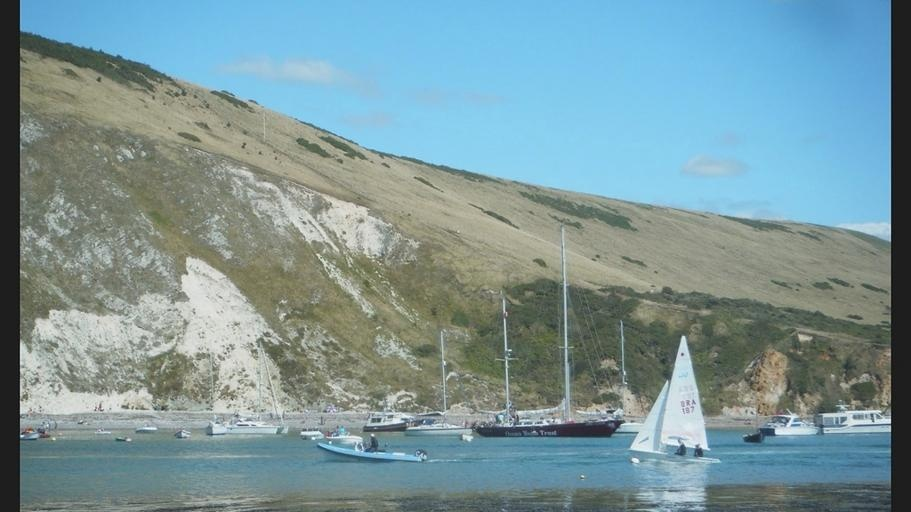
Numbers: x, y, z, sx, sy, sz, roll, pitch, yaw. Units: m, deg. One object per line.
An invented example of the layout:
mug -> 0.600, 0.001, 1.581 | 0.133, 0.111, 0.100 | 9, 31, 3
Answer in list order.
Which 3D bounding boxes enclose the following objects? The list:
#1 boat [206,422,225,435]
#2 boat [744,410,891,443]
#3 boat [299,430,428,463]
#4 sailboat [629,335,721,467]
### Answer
boat -> -32.903, 24.112, 244.385 | 2.718, 1.813, 0.982 | 2, -11, -10
boat -> 53.376, 26.189, 253.032 | 25.185, 5.984, 7.757 | -2, -4, 1
boat -> -10.620, 25.593, 230.232 | 14.196, 3.613, 9.173 | 0, -11, 0
sailboat -> 27.694, 18.556, 223.316 | 8.058, 15.512, 5.640 | -10, -15, 41
